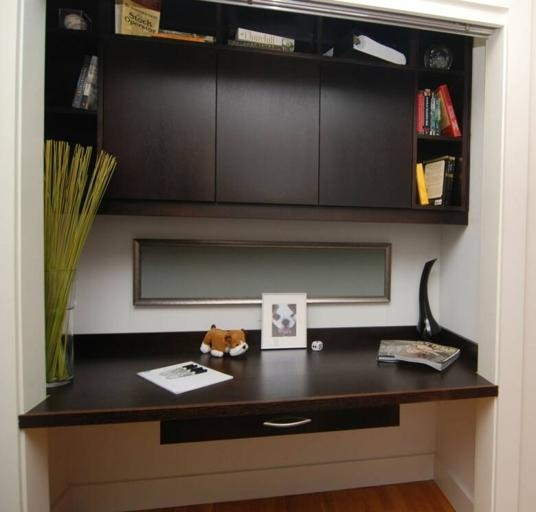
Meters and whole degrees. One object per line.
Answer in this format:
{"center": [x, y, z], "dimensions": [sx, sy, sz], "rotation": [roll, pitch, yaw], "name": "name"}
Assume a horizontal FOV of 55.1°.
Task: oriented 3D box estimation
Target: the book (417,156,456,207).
{"center": [0.837, -0.374, 2.545], "dimensions": [0.054, 0.253, 0.221], "rotation": [2, -2, -35], "name": "book"}

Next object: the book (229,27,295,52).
{"center": [-0.038, -1.014, 2.405], "dimensions": [0.193, 0.053, 0.029], "rotation": [5, 0, -12], "name": "book"}

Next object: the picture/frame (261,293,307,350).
{"center": [0.081, 0.332, 2.621], "dimensions": [0.227, 0.318, 0.008], "rotation": [0, 23, 0], "name": "picture/frame"}

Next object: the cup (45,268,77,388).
{"center": [-0.843, 0.291, 2.085], "dimensions": [0.102, 0.467, 0.168], "rotation": [0, 3, -23], "name": "cup"}

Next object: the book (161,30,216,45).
{"center": [-0.373, -0.993, 2.334], "dimensions": [0.165, 0.040, 0.027], "rotation": [4, -12, -2], "name": "book"}

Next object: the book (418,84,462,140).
{"center": [0.829, -0.708, 2.534], "dimensions": [0.225, 0.271, 0.059], "rotation": [-8, 8, -6], "name": "book"}

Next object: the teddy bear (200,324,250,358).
{"center": [-0.216, 0.405, 2.497], "dimensions": [0.188, 0.139, 0.127], "rotation": [2, 1, 4], "name": "teddy bear"}
